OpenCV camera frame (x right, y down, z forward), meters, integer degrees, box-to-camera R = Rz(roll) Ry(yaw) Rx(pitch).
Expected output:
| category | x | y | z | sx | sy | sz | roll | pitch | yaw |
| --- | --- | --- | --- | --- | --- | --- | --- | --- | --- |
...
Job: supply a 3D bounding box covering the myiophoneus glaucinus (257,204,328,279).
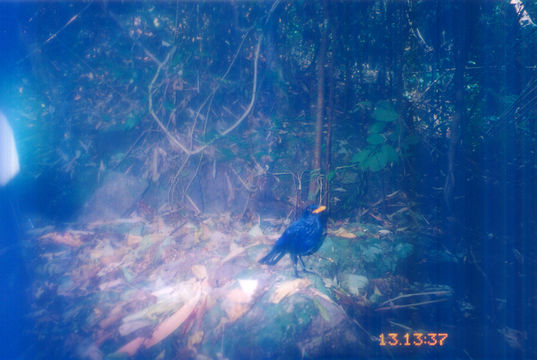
| category | x | y | z | sx | sy | sz | roll | pitch | yaw |
| --- | --- | --- | --- | --- | --- | --- | --- | --- | --- |
| myiophoneus glaucinus | 0.291 | 0.670 | 4.818 | 0.705 | 0.796 | 0.298 | 6 | -14 | 4 |
